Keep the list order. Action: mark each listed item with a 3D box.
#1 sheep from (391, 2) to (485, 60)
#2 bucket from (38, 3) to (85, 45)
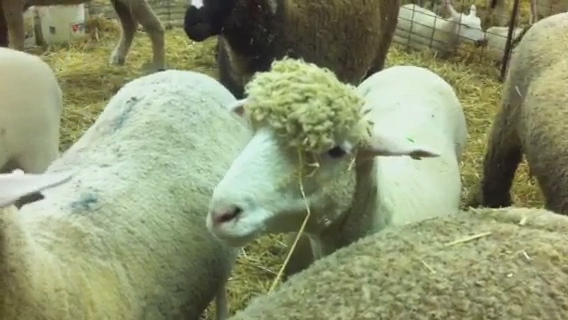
[{"bbox_3d":[2.399,-1.974,10.964,0.961,0.619,1.673,-14,21,-34],"label":"sheep"},{"bbox_3d":[-3.370,-2.036,10.551,0.425,0.456,0.435,1,37,0],"label":"bucket"}]
